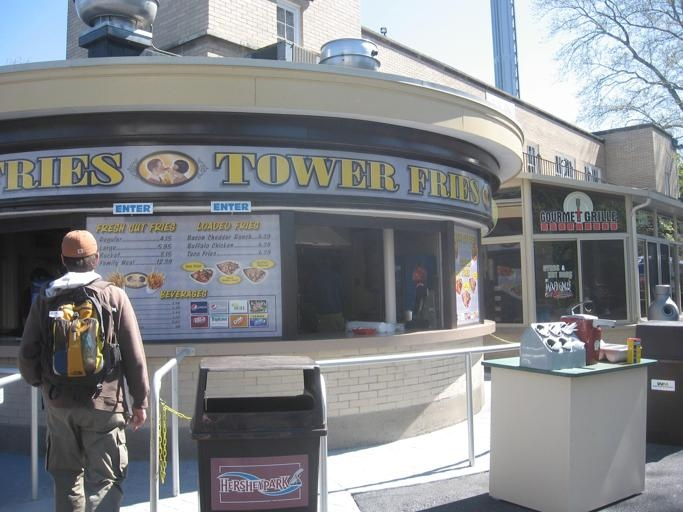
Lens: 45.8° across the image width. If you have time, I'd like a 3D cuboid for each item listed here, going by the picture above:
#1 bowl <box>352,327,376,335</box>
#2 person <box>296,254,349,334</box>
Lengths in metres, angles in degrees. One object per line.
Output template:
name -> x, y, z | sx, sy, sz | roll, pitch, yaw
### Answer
bowl -> 0.321, 1.056, 11.382 | 0.349, 0.087, 0.168 | -1, 7, 7
person -> -0.473, 0.562, 13.971 | 0.915, 1.554, 0.853 | -2, -5, 18
